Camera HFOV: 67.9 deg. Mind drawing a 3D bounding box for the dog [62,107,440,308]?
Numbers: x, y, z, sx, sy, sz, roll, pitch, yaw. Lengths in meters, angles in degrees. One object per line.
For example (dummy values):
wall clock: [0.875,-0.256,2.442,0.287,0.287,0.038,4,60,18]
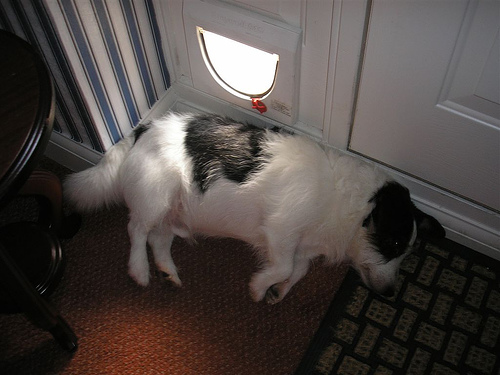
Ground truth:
dog: [-0.070,0.090,1.536,1.426,0.733,0.373,9,9,6]
